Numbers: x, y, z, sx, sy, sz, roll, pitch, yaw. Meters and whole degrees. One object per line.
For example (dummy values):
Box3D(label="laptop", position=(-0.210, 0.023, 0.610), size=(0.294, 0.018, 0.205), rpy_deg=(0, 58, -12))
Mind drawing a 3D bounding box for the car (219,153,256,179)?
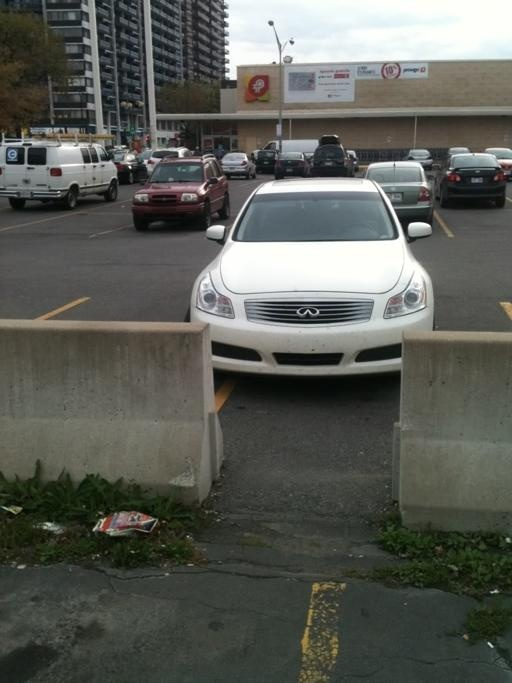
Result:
Box3D(label="car", position=(-1.164, -12.266, 45.072), size=(2.227, 1.701, 5.170), rpy_deg=(2, 26, 4))

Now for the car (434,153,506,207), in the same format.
Box3D(label="car", position=(7.196, -5.366, 21.048), size=(1.276, 1.011, 3.001), rpy_deg=(4, 29, 13))

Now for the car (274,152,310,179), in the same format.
Box3D(label="car", position=(2.387, -11.416, 42.613), size=(2.157, 1.743, 5.039), rpy_deg=(2, 27, 6))

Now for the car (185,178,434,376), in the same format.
Box3D(label="car", position=(0.598, -0.774, 6.117), size=(1.455, 0.932, 2.844), rpy_deg=(1, 14, 9))

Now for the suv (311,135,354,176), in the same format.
Box3D(label="suv", position=(4.855, -12.523, 41.050), size=(2.734, 2.801, 5.967), rpy_deg=(3, 33, 10))

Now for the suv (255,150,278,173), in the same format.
Box3D(label="suv", position=(0.787, -14.548, 51.434), size=(1.578, 1.224, 2.720), rpy_deg=(3, 53, 1))
